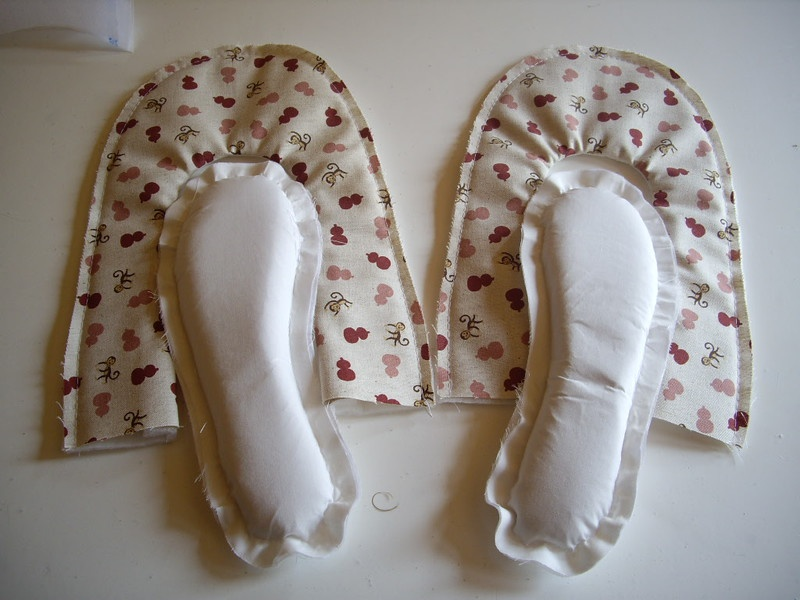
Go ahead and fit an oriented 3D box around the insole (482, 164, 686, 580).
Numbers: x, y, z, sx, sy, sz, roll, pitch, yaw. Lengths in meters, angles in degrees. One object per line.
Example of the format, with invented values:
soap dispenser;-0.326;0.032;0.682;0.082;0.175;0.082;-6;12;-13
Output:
insole;0.503;0.173;2.465;0.517;1.105;0.259;1;-1;6
